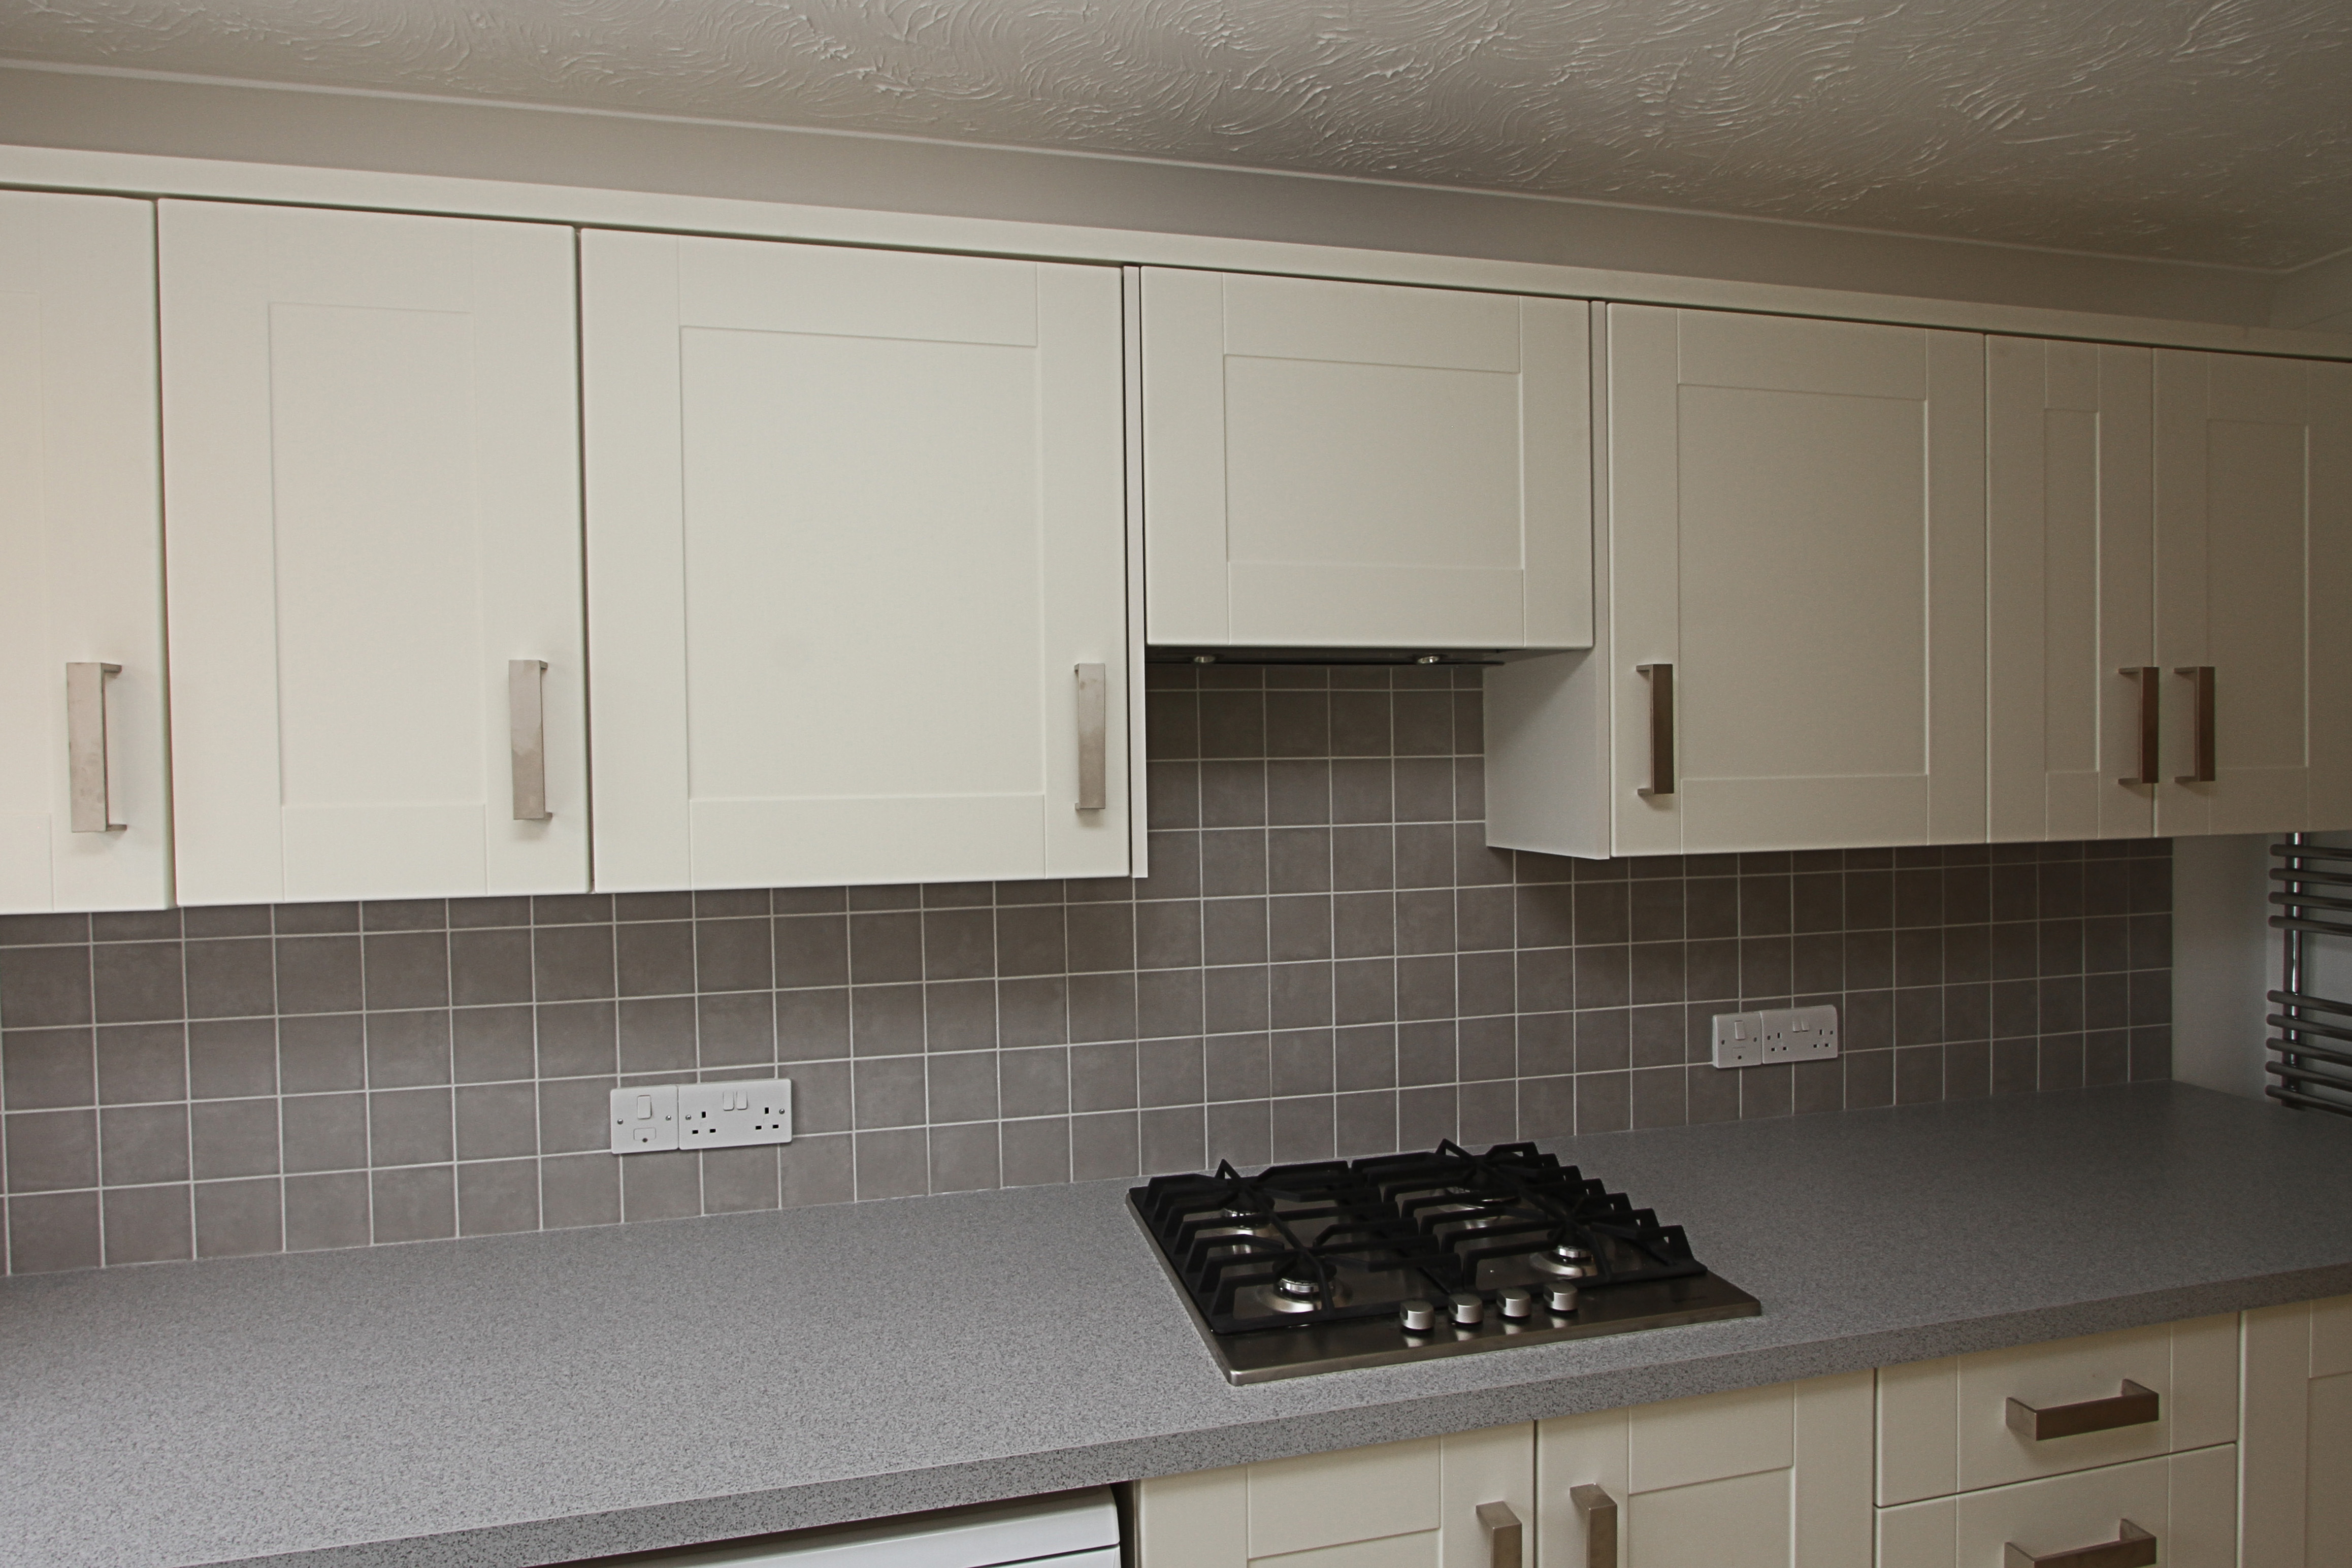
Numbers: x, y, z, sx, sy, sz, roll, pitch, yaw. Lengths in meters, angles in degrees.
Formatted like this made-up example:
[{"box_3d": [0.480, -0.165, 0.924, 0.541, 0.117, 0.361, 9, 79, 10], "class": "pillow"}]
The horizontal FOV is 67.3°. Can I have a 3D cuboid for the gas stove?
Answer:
[{"box_3d": [0.406, 0.749, 2.897, 0.900, 0.174, 0.539, -4, 5, -10], "class": "gas stove"}]

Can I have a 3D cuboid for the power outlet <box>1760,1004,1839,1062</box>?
[{"box_3d": [1.210, 0.488, 3.461, 0.118, 0.079, 0.019, -1, 0, -11], "class": "power outlet"}]

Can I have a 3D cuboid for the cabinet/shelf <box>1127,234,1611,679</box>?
[{"box_3d": [0.262, -0.532, 3.062, 1.074, 0.764, 0.536, 0, 6, -8], "class": "cabinet/shelf"}]
